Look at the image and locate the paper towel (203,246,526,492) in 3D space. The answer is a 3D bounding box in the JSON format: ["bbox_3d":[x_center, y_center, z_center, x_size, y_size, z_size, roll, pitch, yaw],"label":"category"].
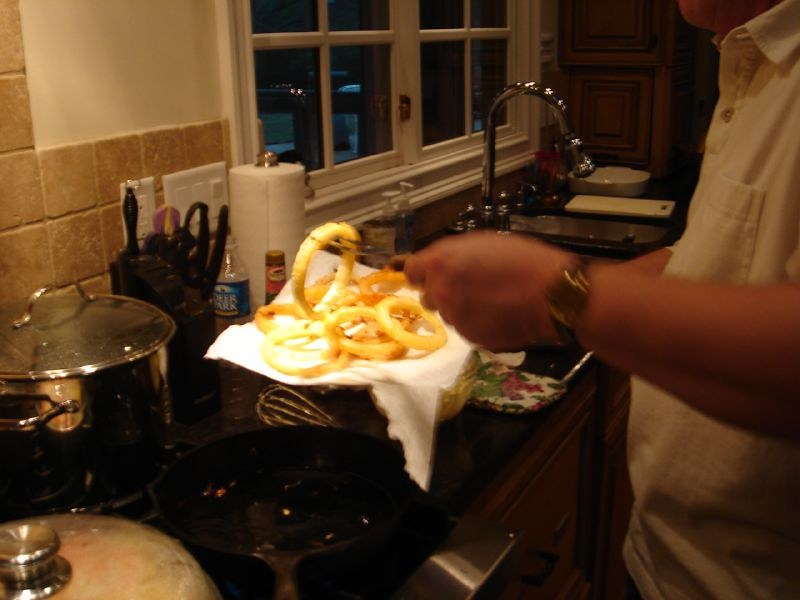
[{"bbox_3d":[-0.080,0.101,0.979,0.280,0.079,0.279,22,42,15],"label":"paper towel"}]
